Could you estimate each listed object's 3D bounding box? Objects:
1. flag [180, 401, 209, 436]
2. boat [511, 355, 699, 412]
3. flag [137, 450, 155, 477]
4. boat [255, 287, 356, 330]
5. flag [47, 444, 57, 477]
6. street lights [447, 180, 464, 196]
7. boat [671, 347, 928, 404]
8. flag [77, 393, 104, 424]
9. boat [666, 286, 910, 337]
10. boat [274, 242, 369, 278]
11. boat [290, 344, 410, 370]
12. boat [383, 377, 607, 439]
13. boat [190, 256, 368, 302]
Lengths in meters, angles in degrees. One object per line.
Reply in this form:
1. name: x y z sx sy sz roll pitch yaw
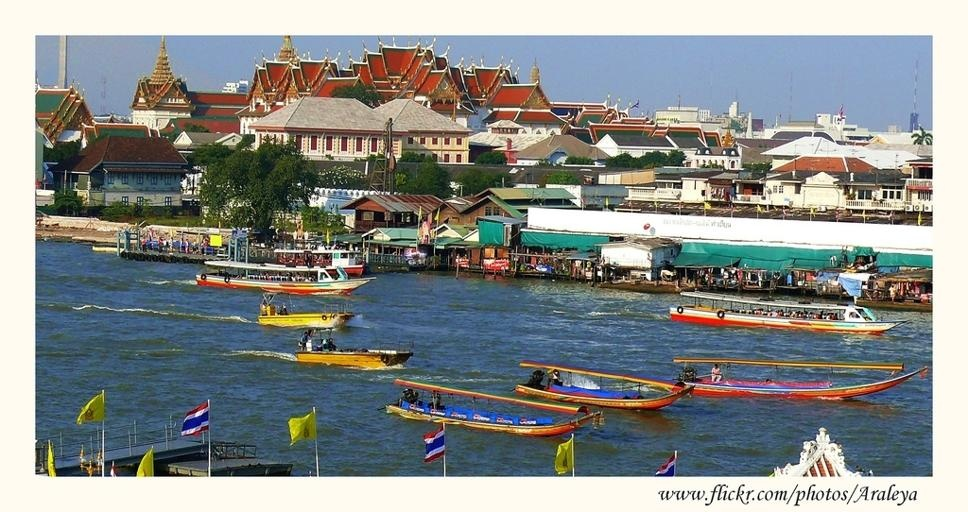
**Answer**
1. flag: -10.764 6.122 80.114 1.002 1.358 1.285 1 3 -8
2. boat: 6.531 5.481 84.816 10.544 2.204 2.302 3 9 14
3. flag: -12.467 7.706 78.945 0.999 1.171 0.191 10 15 39
4. boat: -7.831 2.327 94.200 4.188 1.181 7.545 1 2 -5
5. flag: -16.070 7.570 79.453 0.379 1.172 0.955 1 3 -13
6. street lights: -1.408 -3.689 116.000 0.530 0.554 1.068 0 -3 -13
7. boat: 12.835 4.925 86.336 10.794 2.109 2.007 1 1 4
8. flag: -15.006 5.861 81.518 1.519 1.411 0.325 2 18 3
9. boat: 12.912 2.469 92.203 9.167 1.459 2.667 2 3 18
10. boat: -6.561 0.263 99.414 6.042 1.492 1.470 -1 4 6
11. boat: -5.352 4.159 87.153 5.005 0.754 1.397 0 2 4
12. boat: 0.345 5.933 83.487 7.768 1.955 1.738 1 3 7
13. boat: -8.905 0.454 98.153 10.073 2.576 3.781 1 -2 1
